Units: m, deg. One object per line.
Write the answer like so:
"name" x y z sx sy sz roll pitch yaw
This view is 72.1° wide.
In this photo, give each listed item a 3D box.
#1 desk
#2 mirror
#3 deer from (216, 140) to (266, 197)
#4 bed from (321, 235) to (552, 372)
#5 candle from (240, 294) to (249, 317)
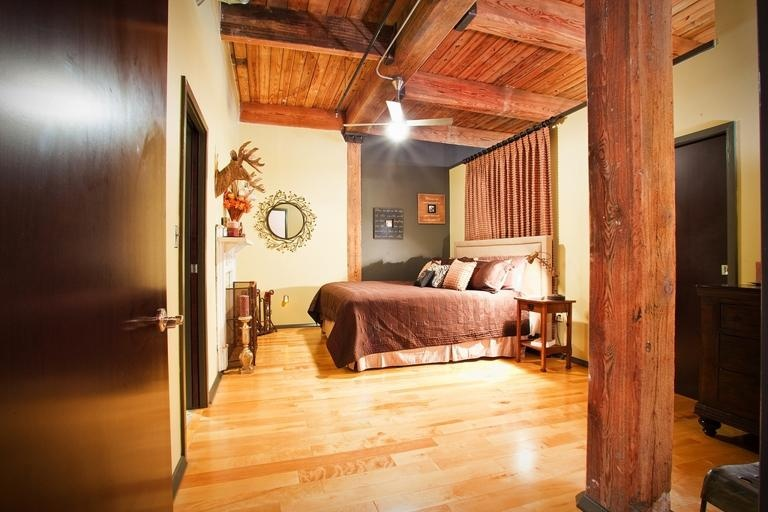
"desk" 1.598 0.768 5.284 0.486 0.680 0.486 2 0 -19
"mirror" -1.360 -0.446 7.019 0.860 0.873 0.050 0 1 -14
"deer" -1.333 -0.749 4.784 0.427 0.603 0.270 3 -15 -25
"bed" 0.429 0.647 5.600 1.673 0.991 1.661 -1 0 -14
"candle" -1.280 0.460 4.824 0.069 0.179 0.148 -2 12 -8
